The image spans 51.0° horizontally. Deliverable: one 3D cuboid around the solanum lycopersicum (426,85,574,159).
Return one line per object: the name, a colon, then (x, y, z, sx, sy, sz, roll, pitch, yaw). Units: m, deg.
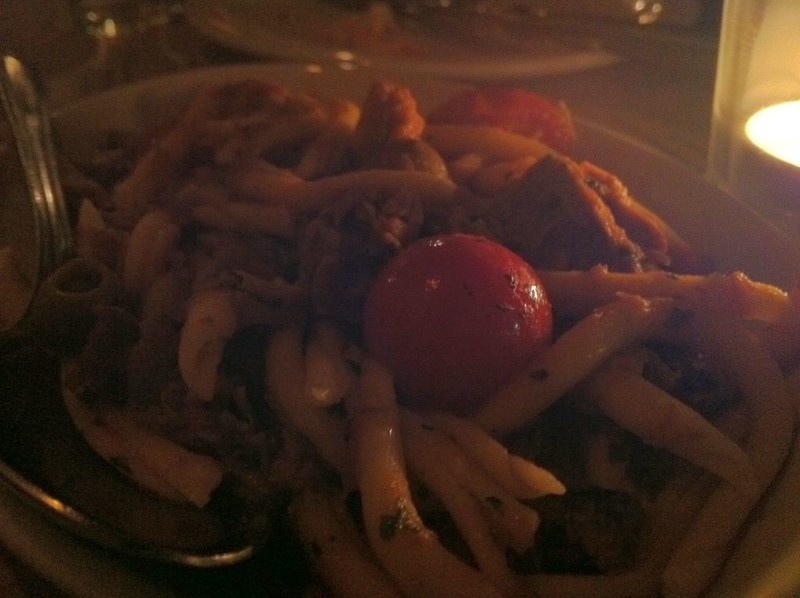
solanum lycopersicum: (0.166, -0.271, 1.278, 0.177, 0.038, 0.104, 9, 38, 4)
